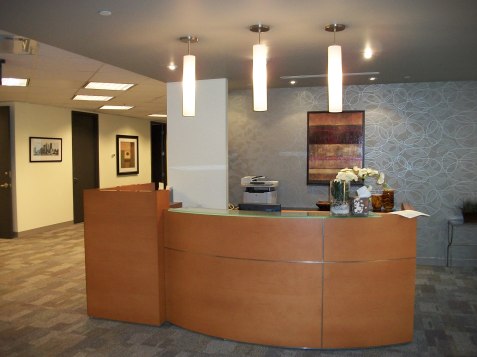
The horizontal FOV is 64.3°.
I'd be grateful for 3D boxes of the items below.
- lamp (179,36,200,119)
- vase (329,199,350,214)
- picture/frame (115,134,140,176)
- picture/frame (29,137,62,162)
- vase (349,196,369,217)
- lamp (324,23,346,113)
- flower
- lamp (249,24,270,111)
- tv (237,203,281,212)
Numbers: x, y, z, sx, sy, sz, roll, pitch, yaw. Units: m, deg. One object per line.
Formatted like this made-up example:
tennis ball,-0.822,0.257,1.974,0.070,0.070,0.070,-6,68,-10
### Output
lamp,-0.586,-1.207,4.564,0.273,0.904,0.256,-4,9,-31
vase,1.124,0.312,4.231,0.163,0.112,0.164,1,1,9
picture/frame,-3.483,-0.730,11.872,0.095,1.354,1.368,0,1,21
picture/frame,-4.677,-0.697,9.179,0.025,0.483,0.684,-1,-1,29
vase,1.334,0.312,4.205,0.209,0.198,0.116,2,5,19
lamp,1.152,-1.288,4.571,0.230,0.990,0.943,1,8,14
flower,1.367,0.046,4.412,0.625,0.343,0.449,2,-6,-13
lamp,0.275,-1.233,4.332,0.335,0.898,0.336,0,11,19
tv,0.239,0.336,4.559,0.540,0.091,0.202,2,8,16
